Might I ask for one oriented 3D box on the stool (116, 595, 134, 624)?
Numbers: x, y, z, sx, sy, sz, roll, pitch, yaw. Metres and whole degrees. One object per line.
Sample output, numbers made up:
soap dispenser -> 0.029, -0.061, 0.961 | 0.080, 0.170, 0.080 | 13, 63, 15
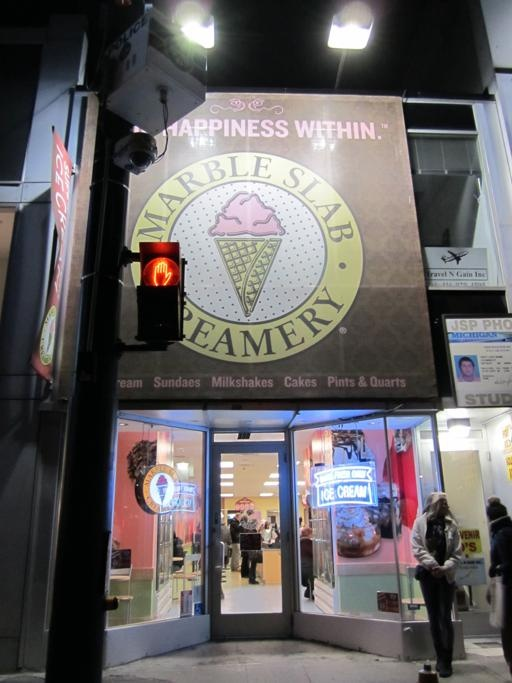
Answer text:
stool -> -1.555, 3.145, 5.837 | 0.197, 0.300, 0.126 | 1, -14, -17

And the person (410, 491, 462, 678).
person -> 1.823, 2.399, 5.016 | 0.570, 1.649, 0.408 | 9, -18, -39

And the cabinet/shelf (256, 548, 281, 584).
cabinet/shelf -> 0.184, 3.150, 7.021 | 0.361, 0.540, 0.327 | 0, -10, -2

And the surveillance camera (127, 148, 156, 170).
surveillance camera -> -0.695, -1.091, 3.028 | 0.092, 0.136, 0.131 | 3, 28, -14

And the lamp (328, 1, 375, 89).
lamp -> 1.438, -4.764, 7.588 | 0.519, 1.566, 0.550 | 2, -2, -27

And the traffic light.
traffic light -> -0.509, -0.240, 2.667 | 0.183, 0.683, 0.165 | 3, -7, -9
